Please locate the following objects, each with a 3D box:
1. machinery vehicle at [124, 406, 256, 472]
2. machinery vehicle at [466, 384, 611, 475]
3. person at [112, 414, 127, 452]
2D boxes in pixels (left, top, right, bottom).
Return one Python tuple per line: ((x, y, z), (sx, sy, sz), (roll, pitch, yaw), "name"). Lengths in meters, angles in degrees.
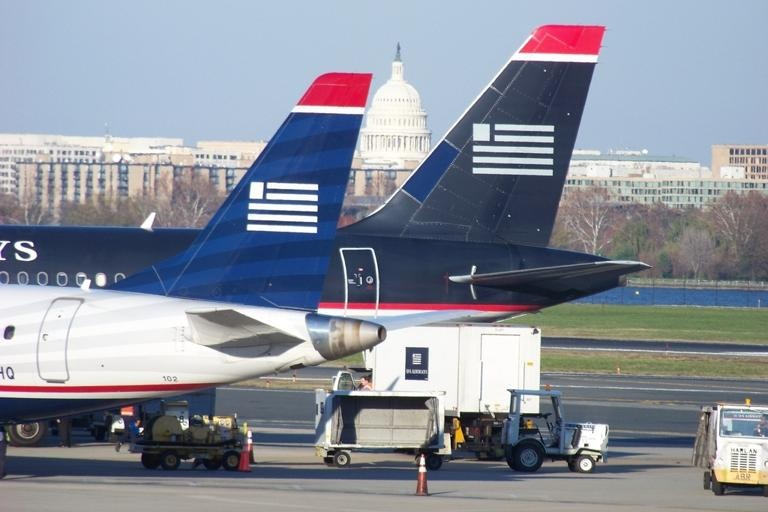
((-9.351, 8.848, 81.944), (5.052, 2.202, 2.683), (4, 0, -32), "machinery vehicle")
((7.588, 8.566, 84.073), (6.791, 3.489, 3.503), (4, -1, -10), "machinery vehicle")
((-13.164, 8.798, 84.119), (1.121, 1.481, 0.436), (3, 17, 18), "person")
